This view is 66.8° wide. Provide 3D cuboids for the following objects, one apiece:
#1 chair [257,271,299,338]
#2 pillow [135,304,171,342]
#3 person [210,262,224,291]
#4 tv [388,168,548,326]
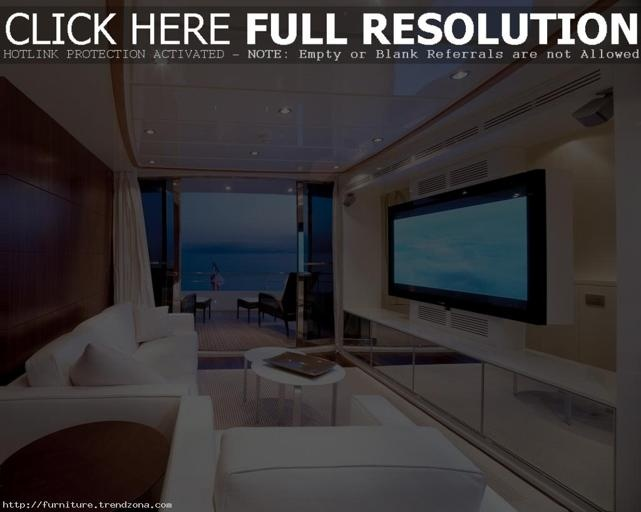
[{"bbox_3d":[-0.688,0.698,7.259,0.522,0.786,0.488,7,-9,-7],"label":"chair"},{"bbox_3d":[-1.740,0.683,4.883,0.310,0.320,0.094,7,-24,-38],"label":"pillow"},{"bbox_3d":[-2.088,0.403,9.784,0.246,0.564,1.100,1,0,-11],"label":"person"},{"bbox_3d":[1.178,-0.075,4.275,0.210,1.069,1.959,-1,0,-26],"label":"tv"}]
